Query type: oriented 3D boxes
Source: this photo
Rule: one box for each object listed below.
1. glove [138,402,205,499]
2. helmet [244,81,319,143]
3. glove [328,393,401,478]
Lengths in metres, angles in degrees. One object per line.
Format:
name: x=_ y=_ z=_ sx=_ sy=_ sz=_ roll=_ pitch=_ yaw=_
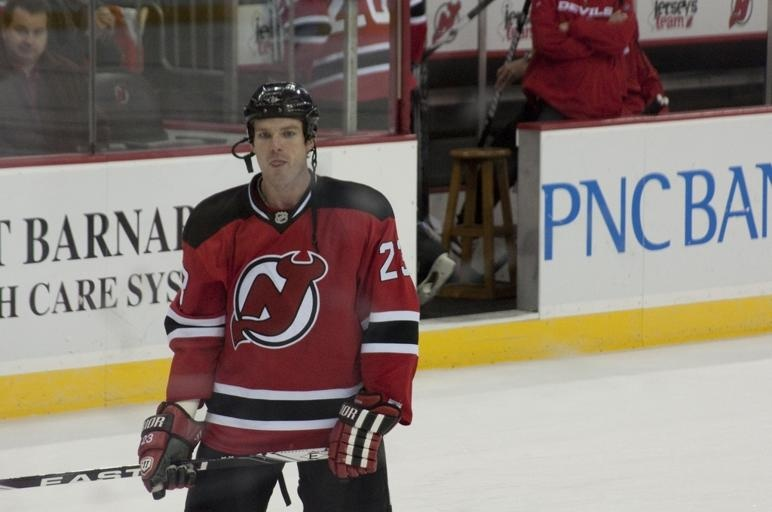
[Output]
glove: x=-0.915 y=0.800 z=5.896 sx=0.249 sy=0.393 sz=0.158 roll=-2 pitch=-22 yaw=27
helmet: x=-0.457 y=-0.574 z=5.983 sx=0.314 sy=0.298 sz=0.361 roll=-3 pitch=-1 yaw=16
glove: x=-0.108 y=0.744 z=5.829 sx=0.280 sy=0.349 sz=0.114 roll=17 pitch=2 yaw=-7
